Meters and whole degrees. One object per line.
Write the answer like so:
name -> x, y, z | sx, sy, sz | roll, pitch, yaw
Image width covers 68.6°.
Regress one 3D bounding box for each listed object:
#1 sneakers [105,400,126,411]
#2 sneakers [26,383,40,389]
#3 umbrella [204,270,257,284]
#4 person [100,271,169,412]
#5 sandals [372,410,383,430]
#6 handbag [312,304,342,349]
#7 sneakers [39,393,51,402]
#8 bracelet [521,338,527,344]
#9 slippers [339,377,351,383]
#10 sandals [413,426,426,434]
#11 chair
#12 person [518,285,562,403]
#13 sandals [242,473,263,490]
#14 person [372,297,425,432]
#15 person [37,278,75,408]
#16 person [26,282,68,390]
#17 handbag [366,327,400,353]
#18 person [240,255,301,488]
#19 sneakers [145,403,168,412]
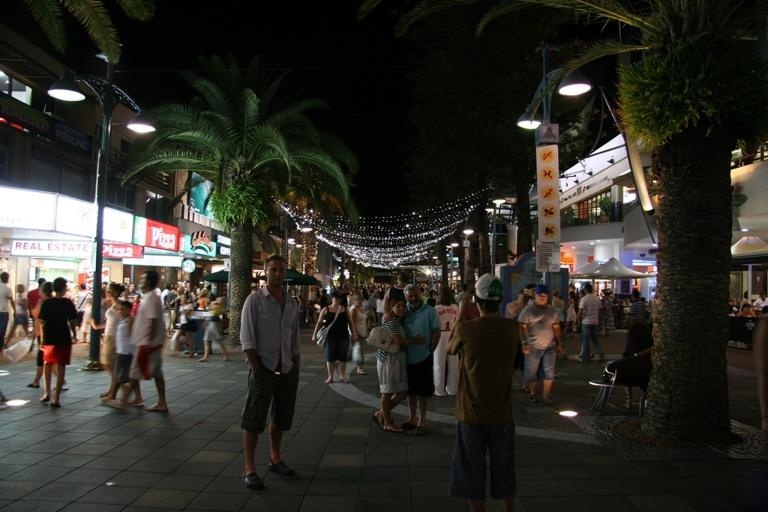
sneakers -> -5.118, 2.799, 10.741 | 0.440, 0.173, 0.160 | 11, -2, 28
sneakers -> -7.493, 2.763, 11.996 | 0.301, 0.117, 0.120 | 6, -5, 29
umbrella -> -6.942, 0.893, 23.762 | 0.882, 0.350, 0.884 | 3, 6, 27
person -> -4.541, 1.595, 10.652 | 0.821, 2.642, 0.998 | 3, -7, -33
sandals -> -0.118, 2.921, 10.004 | 0.232, 0.247, 0.644 | 5, -10, -11
handbag -> -1.385, 1.719, 13.284 | 0.414, 0.820, 0.802 | -2, -6, 12
sneakers -> -6.592, 2.737, 10.921 | 0.189, 0.162, 0.168 | 0, -6, -5
bracelet -> 2.812, 1.732, 11.320 | 0.080, 0.082, 0.079 | 1, -8, 0
slippers -> -0.959, 2.980, 13.478 | 0.307, 0.111, 0.249 | -2, -12, 27
sandals -> 0.590, 2.946, 9.545 | 0.202, 0.117, 0.140 | -3, -7, 19
chair -> 4.499, 2.228, 10.755 | 1.209, 1.178, 1.171 | -5, 4, -26
person -> 3.153, 1.771, 11.375 | 0.848, 2.261, 0.710 | -3, 4, -1
sandals -> -1.802, 3.065, 7.725 | 0.133, 0.120, 0.310 | 7, 0, -41
person -> 0.149, 1.856, 9.797 | 0.763, 2.303, 0.485 | 0, -6, 0
person -> -6.418, 1.654, 11.134 | 0.998, 2.479, 0.637 | -6, -8, 41
person -> -7.124, 1.678, 11.767 | 0.676, 2.173, 0.744 | -10, -11, 3
handbag -> -0.050, 1.449, 9.706 | 0.426, 0.324, 0.462 | 23, -12, 42
person -> -1.630, 1.591, 7.997 | 0.432, 3.187, 0.813 | -5, -8, 39
sneakers -> -4.276, 2.835, 10.594 | 0.410, 0.163, 0.161 | 1, -10, 14
